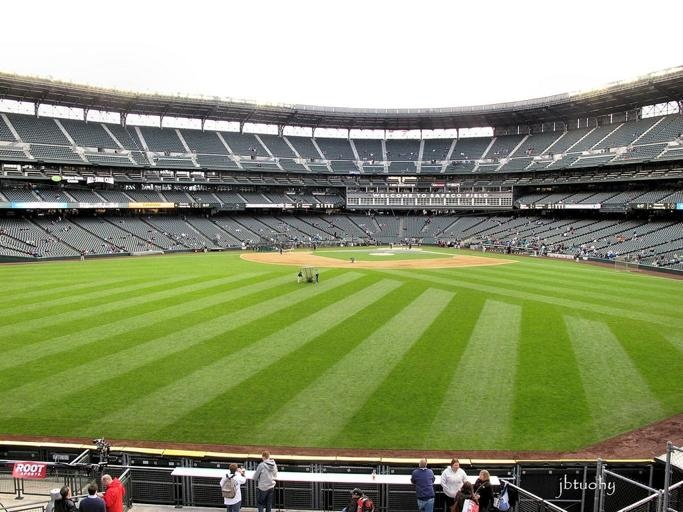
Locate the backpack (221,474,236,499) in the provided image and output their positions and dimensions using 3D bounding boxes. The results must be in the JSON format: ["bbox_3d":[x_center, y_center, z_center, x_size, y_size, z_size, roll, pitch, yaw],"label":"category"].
[{"bbox_3d":[-2.824,5.790,13.256,0.359,0.596,0.264,4,-18,-9],"label":"backpack"}]
